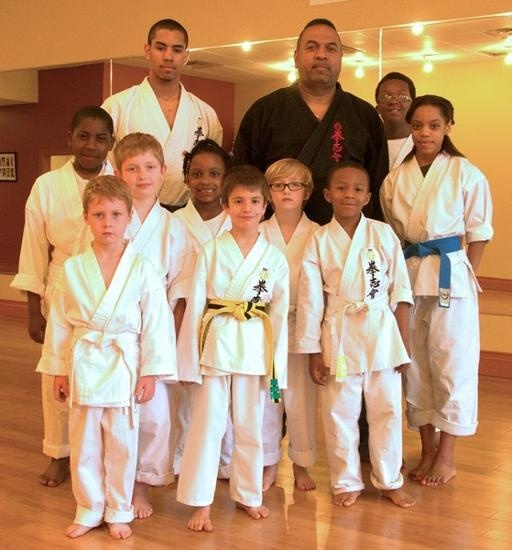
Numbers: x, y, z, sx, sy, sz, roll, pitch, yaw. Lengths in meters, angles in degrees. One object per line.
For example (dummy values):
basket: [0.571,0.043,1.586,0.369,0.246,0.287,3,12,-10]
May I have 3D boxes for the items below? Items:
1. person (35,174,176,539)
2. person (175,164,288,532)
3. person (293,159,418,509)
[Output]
person: [-0.439,0.241,1.705,0.416,1.088,0.201,-4,5,-21]
person: [-0.075,0.214,1.798,0.398,1.135,0.224,-3,5,-12]
person: [0.340,0.209,1.977,0.401,1.182,0.259,-1,5,15]
